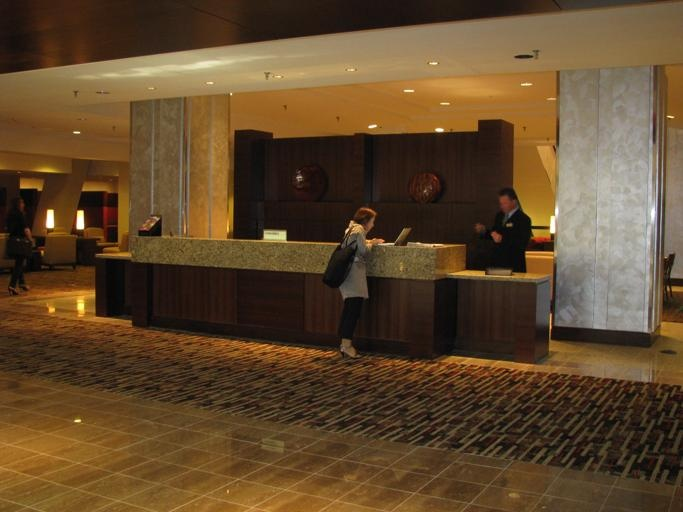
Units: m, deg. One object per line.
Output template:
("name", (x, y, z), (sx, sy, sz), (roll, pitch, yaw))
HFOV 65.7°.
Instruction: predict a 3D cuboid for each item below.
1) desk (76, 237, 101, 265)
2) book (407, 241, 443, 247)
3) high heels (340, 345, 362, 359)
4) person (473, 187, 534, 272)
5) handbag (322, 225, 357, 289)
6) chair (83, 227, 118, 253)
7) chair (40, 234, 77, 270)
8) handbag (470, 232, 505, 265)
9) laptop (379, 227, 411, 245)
("desk", (-8.030, -0.112, 16.728), (0.922, 0.895, 0.631), (1, 1, 38))
("book", (1.033, -0.117, 6.582), (0.440, 0.031, 0.451), (1, 4, 8))
("high heels", (0.112, 1.201, 6.480), (0.239, 0.115, 0.124), (-1, 1, 35))
("person", (2.274, -0.378, 7.454), (0.699, 1.249, 2.090), (1, 4, 14))
("handbag", (-0.032, 0.073, 6.312), (0.287, 0.635, 0.327), (3, 4, 41))
("chair", (-8.680, -0.545, 18.906), (1.324, 1.209, 0.981), (3, 5, 33))
("chair", (-8.492, -0.139, 15.955), (0.843, 1.133, 1.178), (-4, 11, -35))
("handbag", (2.286, -0.098, 8.282), (0.267, 0.480, 0.503), (6, -11, -43))
("laptop", (0.879, -0.312, 8.665), (0.157, 0.238, 0.255), (28, 7, 19))
